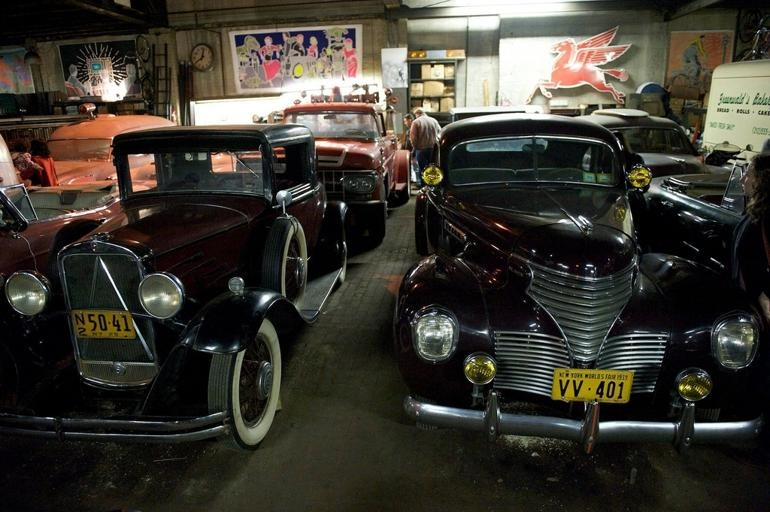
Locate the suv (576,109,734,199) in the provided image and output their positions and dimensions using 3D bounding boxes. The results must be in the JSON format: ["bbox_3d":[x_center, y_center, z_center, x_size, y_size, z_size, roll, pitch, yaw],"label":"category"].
[{"bbox_3d":[4.113,-1.785,8.961,2.580,1.238,1.542,3,12,17],"label":"suv"}]

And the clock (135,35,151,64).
[{"bbox_3d":[-6.937,-5.949,15.465,0.452,0.734,0.109,0,18,6],"label":"clock"}]

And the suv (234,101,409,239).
[{"bbox_3d":[-0.941,-1.486,9.443,2.044,1.474,3.401,-2,-20,-1],"label":"suv"}]

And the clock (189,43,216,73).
[{"bbox_3d":[-5.176,-5.625,15.283,0.740,0.713,0.170,4,10,11],"label":"clock"}]
